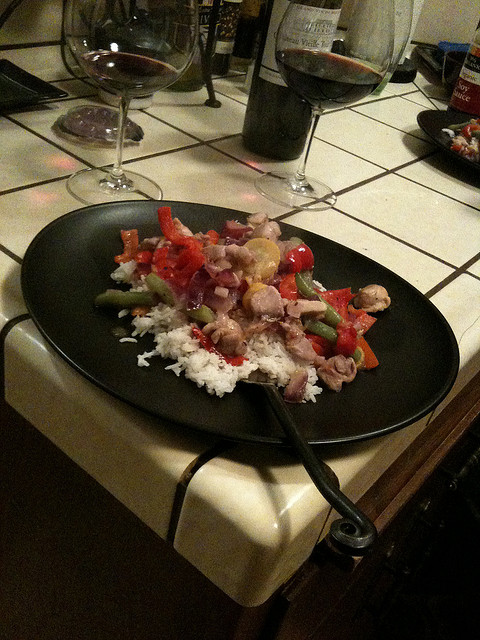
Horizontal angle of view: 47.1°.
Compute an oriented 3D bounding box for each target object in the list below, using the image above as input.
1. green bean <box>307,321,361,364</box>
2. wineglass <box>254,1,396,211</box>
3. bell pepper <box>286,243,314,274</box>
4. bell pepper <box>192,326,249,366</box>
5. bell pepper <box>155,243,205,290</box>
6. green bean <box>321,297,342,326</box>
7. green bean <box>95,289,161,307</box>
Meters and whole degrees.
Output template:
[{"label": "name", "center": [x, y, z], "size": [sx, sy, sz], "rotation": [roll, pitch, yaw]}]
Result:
[{"label": "green bean", "center": [0.069, 0.013, 0.493], "size": [0.016, 0.016, 0.082], "rotation": [-32, 42, -32]}, {"label": "wineglass", "center": [0.142, -0.370, 0.896], "size": [0.165, 0.288, 0.375], "rotation": [18, 33, 6]}, {"label": "bell pepper", "center": [0.057, -0.057, 0.519], "size": [0.024, 0.014, 0.028], "rotation": [16, 61, -4]}, {"label": "bell pepper", "center": [-0.019, 0.021, 0.426], "size": [0.052, 0.015, 0.024], "rotation": [21, 33, 15]}, {"label": "bell pepper", "center": [-0.049, -0.043, 0.456], "size": [0.019, 0.042, 0.040], "rotation": [49, 0, -35]}, {"label": "green bean", "center": [0.082, -0.007, 0.497], "size": [0.023, 0.009, 0.013], "rotation": [51, 33, 3]}, {"label": "green bean", "center": [-0.091, -0.019, 0.455], "size": [0.054, 0.018, 0.016], "rotation": [-1, 34, -11]}]
